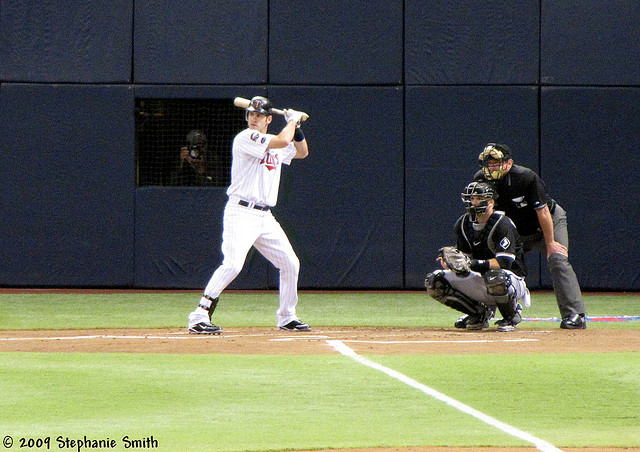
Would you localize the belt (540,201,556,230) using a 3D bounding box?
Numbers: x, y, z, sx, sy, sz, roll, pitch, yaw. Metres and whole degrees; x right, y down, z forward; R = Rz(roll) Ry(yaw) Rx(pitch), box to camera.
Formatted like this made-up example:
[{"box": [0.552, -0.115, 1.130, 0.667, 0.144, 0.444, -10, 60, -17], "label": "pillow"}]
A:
[{"box": [2.724, -0.119, 13.227, 0.135, 0.324, 0.256, 8, 40, 8], "label": "belt"}]

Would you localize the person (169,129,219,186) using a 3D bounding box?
[{"box": [-2.120, -1.122, 17.893, 0.757, 0.958, 0.310, 0, 0, 0], "label": "person"}]

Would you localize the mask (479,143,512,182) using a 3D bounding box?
[{"box": [2.108, -0.787, 13.294, 0.360, 0.419, 0.468, 2, 7, 44], "label": "mask"}]

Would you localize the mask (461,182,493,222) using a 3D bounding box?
[{"box": [1.816, -0.300, 13.037, 0.391, 0.412, 0.435, 0, 5, 23], "label": "mask"}]

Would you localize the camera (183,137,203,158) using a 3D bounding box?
[{"box": [-2.143, -1.313, 18.211, 0.353, 0.318, 0.146, 7, 14, 29], "label": "camera"}]

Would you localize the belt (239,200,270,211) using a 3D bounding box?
[{"box": [-0.779, -0.233, 12.687, 0.180, 0.037, 0.172, 15, 7, -28], "label": "belt"}]

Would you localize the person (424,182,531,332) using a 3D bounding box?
[{"box": [1.901, 0.402, 12.991, 1.158, 1.806, 0.609, 3, 12, 10], "label": "person"}]

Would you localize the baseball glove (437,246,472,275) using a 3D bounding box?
[{"box": [1.601, 0.426, 12.920, 0.394, 0.100, 0.255, 25, 40, -13], "label": "baseball glove"}]
